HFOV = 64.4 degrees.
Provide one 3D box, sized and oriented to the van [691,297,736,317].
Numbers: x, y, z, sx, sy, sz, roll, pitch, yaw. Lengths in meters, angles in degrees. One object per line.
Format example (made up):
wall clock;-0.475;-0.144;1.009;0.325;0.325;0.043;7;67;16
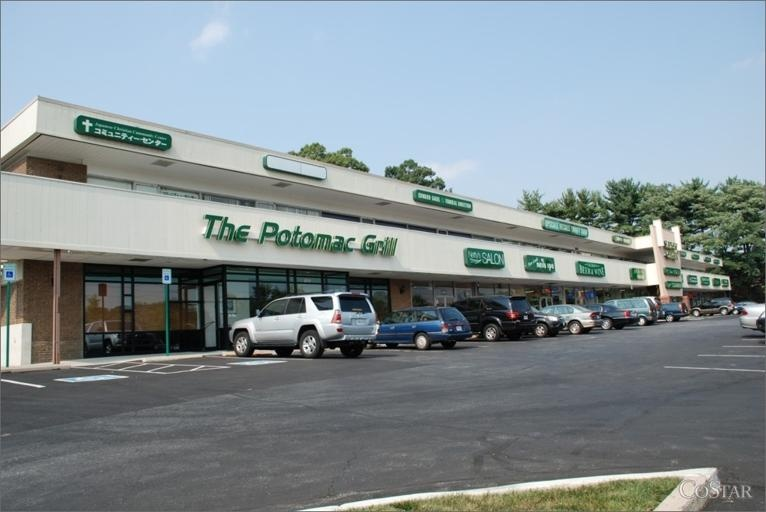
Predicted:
van;32.883;5.054;60.440;4.693;1.731;2.130;-1;-4;37

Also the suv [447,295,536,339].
suv;5.516;2.961;30.780;3.857;1.401;2.151;1;-2;39

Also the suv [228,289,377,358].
suv;-3.345;2.548;23.118;5.912;1.999;1.822;-1;1;26

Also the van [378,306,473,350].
van;1.629;3.072;27.080;4.188;1.243;1.904;-1;-3;40
